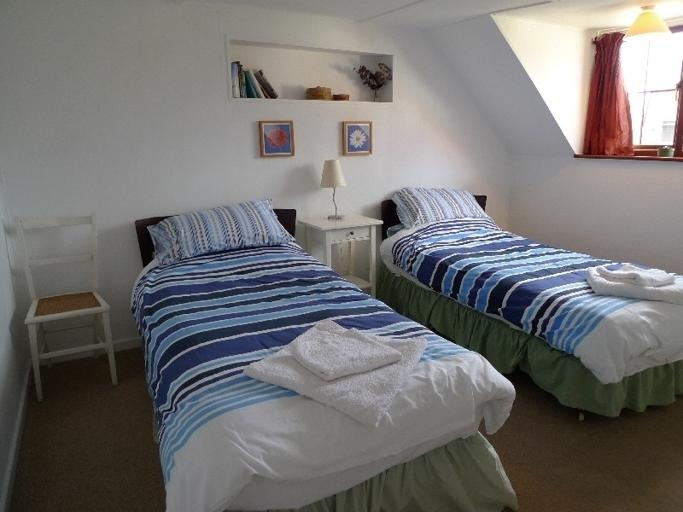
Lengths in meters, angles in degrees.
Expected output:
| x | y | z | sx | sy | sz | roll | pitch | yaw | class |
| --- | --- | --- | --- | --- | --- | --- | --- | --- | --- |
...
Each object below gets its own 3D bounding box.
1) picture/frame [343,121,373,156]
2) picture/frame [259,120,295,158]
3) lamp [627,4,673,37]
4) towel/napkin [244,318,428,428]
| x | y | z | sx | sy | sz | roll | pitch | yaw | class |
| --- | --- | --- | --- | --- | --- | --- | --- | --- | --- |
| 0.136 | -1.087 | 4.534 | 0.287 | 0.310 | 0.030 | -7 | 15 | -32 | picture/frame |
| -0.562 | -1.004 | 4.217 | 0.283 | 0.301 | 0.020 | -7 | 12 | -30 | picture/frame |
| 2.373 | -1.771 | 3.828 | 0.264 | 0.197 | 0.267 | -12 | 15 | -37 | lamp |
| -0.013 | 0.532 | 2.359 | 0.486 | 0.110 | 0.504 | 12 | 23 | 31 | towel/napkin |
